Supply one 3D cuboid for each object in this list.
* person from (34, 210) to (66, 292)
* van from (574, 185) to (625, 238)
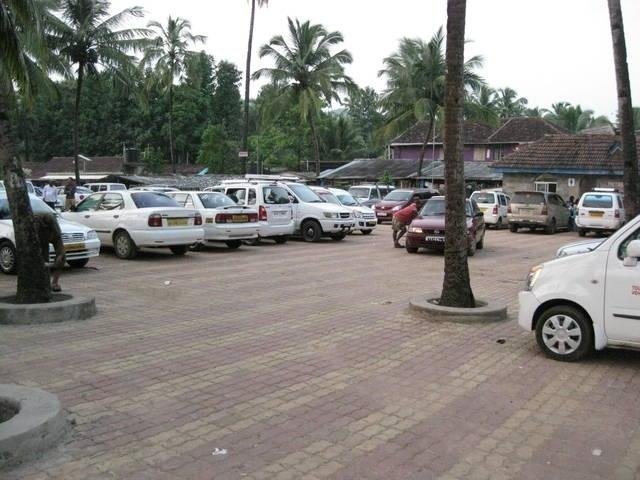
[{"bbox_3d":[-4.861,0.243,9.853,0.462,1.473,1.036,-2,7,-26],"label":"person"},{"bbox_3d":[12.116,-0.952,24.124,2.106,2.237,4.364,3,11,31],"label":"van"}]
